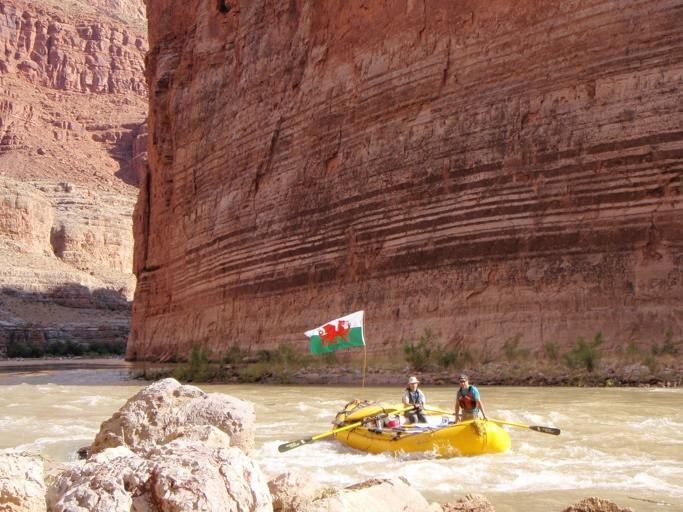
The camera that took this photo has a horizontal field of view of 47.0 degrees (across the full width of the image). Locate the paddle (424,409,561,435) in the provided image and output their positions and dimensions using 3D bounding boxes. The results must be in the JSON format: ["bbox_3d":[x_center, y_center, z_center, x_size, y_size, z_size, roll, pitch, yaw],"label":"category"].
[{"bbox_3d":[2.895,3.234,15.205,2.388,0.150,0.278,10,14,4],"label":"paddle"}]

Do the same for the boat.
[{"bbox_3d":[1.234,3.304,14.526,2.217,0.509,1.298,-4,-5,44],"label":"boat"}]

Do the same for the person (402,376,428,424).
[{"bbox_3d":[1.459,2.942,15.255,0.436,1.101,0.568,-6,3,-15],"label":"person"}]

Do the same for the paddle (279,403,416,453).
[{"bbox_3d":[0.172,3.379,15.310,2.529,0.308,0.133,-17,2,14],"label":"paddle"}]

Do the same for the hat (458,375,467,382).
[{"bbox_3d":[2.318,2.309,14.848,0.137,0.136,0.327,-3,-11,9],"label":"hat"}]
